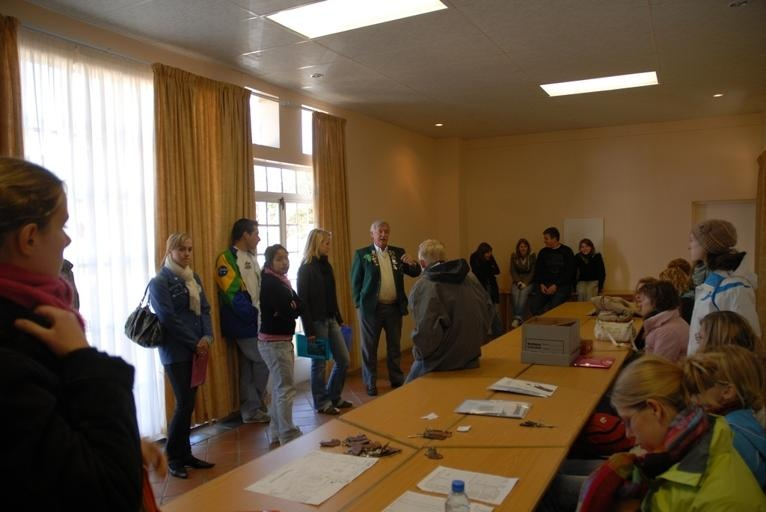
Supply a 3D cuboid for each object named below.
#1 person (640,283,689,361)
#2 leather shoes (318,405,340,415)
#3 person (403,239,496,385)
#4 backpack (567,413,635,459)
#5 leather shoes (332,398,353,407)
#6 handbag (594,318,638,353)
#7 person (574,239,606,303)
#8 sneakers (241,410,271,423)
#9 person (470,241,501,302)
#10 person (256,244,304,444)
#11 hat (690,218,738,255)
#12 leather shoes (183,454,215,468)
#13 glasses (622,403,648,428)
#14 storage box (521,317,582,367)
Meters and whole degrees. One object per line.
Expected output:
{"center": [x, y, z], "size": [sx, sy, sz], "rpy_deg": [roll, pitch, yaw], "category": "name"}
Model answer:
{"center": [2.248, 0.530, 4.394], "size": [0.385, 0.791, 0.590], "rpy_deg": [1, 3, 36], "category": "person"}
{"center": [-0.561, 1.625, 5.822], "size": [0.235, 0.107, 0.091], "rpy_deg": [-2, -1, 16], "category": "leather shoes"}
{"center": [0.529, 0.656, 4.604], "size": [0.730, 1.587, 0.722], "rpy_deg": [-2, 17, -2], "category": "person"}
{"center": [1.490, 1.131, 3.547], "size": [0.306, 0.191, 0.402], "rpy_deg": [-3, -26, 39], "category": "backpack"}
{"center": [-0.415, 1.591, 5.950], "size": [0.073, 0.084, 0.205], "rpy_deg": [3, 2, 42], "category": "leather shoes"}
{"center": [2.064, 0.693, 4.923], "size": [0.280, 0.166, 0.225], "rpy_deg": [1, 0, 26], "category": "handbag"}
{"center": [3.340, 0.197, 8.856], "size": [0.449, 0.952, 0.605], "rpy_deg": [-1, 6, 22], "category": "person"}
{"center": [-1.288, 1.634, 5.604], "size": [0.282, 0.126, 0.113], "rpy_deg": [0, -2, -13], "category": "sneakers"}
{"center": [1.758, 0.401, 9.269], "size": [0.449, 1.276, 0.422], "rpy_deg": [-2, 22, 15], "category": "person"}
{"center": [-0.936, 0.814, 4.971], "size": [0.340, 1.809, 0.399], "rpy_deg": [-5, 6, -14], "category": "person"}
{"center": [2.537, -0.155, 4.228], "size": [0.260, 0.264, 0.306], "rpy_deg": [6, 4, -39], "category": "hat"}
{"center": [-1.548, 1.742, 4.672], "size": [0.306, 0.128, 0.097], "rpy_deg": [-1, 0, 0], "category": "leather shoes"}
{"center": [1.225, 0.763, 2.661], "size": [0.039, 0.127, 0.095], "rpy_deg": [-3, -3, -11], "category": "glasses"}
{"center": [1.363, 0.685, 4.430], "size": [0.376, 0.302, 0.385], "rpy_deg": [1, 3, 31], "category": "storage box"}
